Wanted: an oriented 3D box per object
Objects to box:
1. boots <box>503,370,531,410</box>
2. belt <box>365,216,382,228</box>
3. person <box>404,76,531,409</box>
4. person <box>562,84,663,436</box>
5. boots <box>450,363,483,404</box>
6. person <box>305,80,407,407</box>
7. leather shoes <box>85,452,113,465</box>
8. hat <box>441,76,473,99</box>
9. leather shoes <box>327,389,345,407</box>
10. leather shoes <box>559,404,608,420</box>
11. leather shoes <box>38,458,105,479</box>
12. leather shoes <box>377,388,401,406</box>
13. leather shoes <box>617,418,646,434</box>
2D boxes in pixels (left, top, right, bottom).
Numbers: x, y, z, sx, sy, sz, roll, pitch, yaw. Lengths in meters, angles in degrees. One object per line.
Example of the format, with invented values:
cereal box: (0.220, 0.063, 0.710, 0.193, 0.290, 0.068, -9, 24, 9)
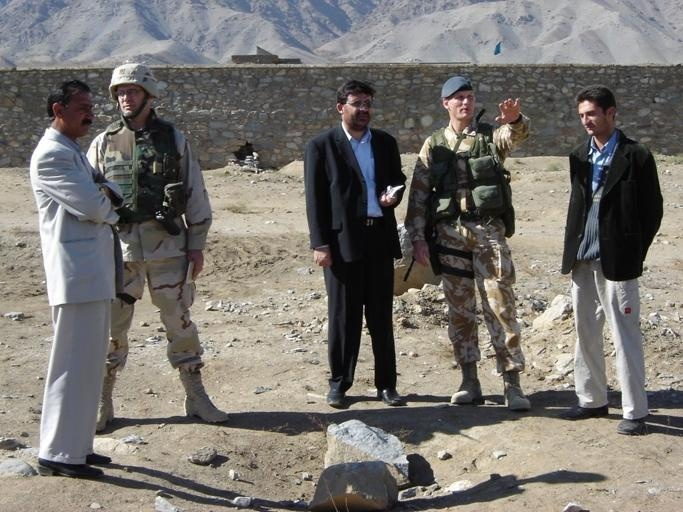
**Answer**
boots: (1.315, 1.008, 6.588, 0.160, 0.273, 0.430, -3, -1, -2)
belt: (0.249, -0.260, 6.675, 0.146, 0.080, 0.019, -10, 13, -29)
person: (0.989, -0.109, 6.738, 1.010, 2.512, 0.742, 2, 14, 31)
person: (1.871, 0.005, 6.132, 0.711, 2.357, 0.878, -9, 12, -19)
boots: (0.960, 0.978, 6.792, 0.173, 0.298, 0.359, -2, 2, 33)
person: (0.138, -0.091, 6.761, 0.753, 2.486, 0.612, -5, 12, 4)
leather shoes: (-1.579, 1.306, 5.666, 0.197, 0.070, 0.062, 2, 13, -18)
hat: (0.891, -1.299, 6.703, 0.221, 0.089, 0.165, -25, 18, -40)
leather shoes: (-0.043, 1.097, 6.790, 0.088, 0.080, 0.184, 2, 6, 0)
leather shoes: (1.758, 1.131, 6.366, 0.321, 0.120, 0.114, 2, -1, -2)
leather shoes: (-1.681, 1.335, 5.534, 0.419, 0.148, 0.139, 3, -2, -9)
leather shoes: (0.369, 1.101, 6.821, 0.091, 0.071, 0.216, -2, -2, -26)
leather shoes: (1.973, 1.161, 5.946, 0.218, 0.083, 0.084, -4, 21, -8)
